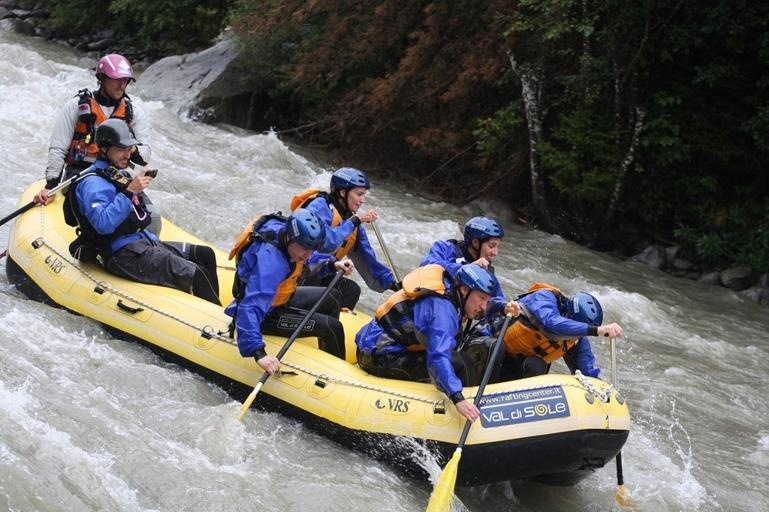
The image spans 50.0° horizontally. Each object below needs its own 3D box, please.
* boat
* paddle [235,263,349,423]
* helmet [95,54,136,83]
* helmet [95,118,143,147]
[{"bbox_3d":[-0.998,1.249,10.624,7.487,1.572,3.223,26,2,13],"label":"boat"},{"bbox_3d":[-1.148,1.099,9.870,0.184,2.305,0.128,33,-17,13],"label":"paddle"},{"bbox_3d":[-3.640,-2.551,11.077,0.479,0.254,0.340,18,14,23],"label":"helmet"},{"bbox_3d":[-3.305,-1.542,10.263,0.461,0.246,0.332,2,16,-3],"label":"helmet"}]
